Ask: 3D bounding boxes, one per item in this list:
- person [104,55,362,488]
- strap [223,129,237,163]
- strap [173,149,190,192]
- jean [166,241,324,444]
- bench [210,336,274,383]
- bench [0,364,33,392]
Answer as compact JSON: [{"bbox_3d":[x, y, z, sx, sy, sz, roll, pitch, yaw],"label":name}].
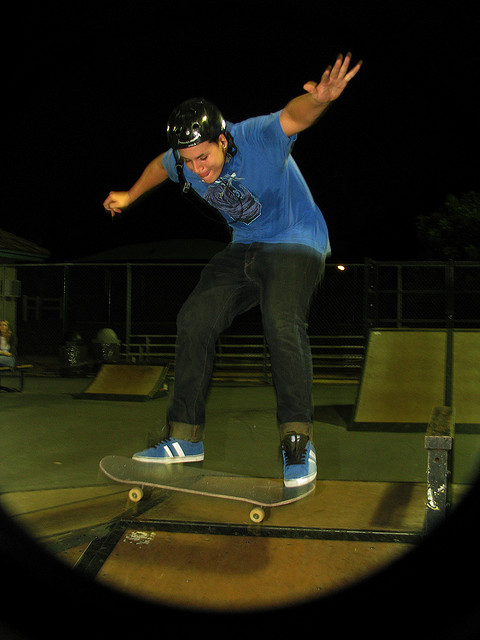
[{"bbox_3d":[0.021,-0.089,2.309,1.085,1.585,0.737,-3,-6,28],"label":"person"},{"bbox_3d":[-0.041,-0.728,2.199,0.051,0.101,0.075,-20,12,12],"label":"strap"},{"bbox_3d":[-0.284,-0.689,2.433,0.079,0.132,0.036,15,33,43],"label":"strap"},{"bbox_3d":[0.008,0.091,2.442,0.693,0.949,0.216,-3,-6,24],"label":"jean"},{"bbox_3d":[0.025,0.789,10.115,1.213,0.583,1.598,0,-2,0],"label":"bench"},{"bbox_3d":[-3.521,0.894,8.266,0.431,0.374,0.391,-1,-18,2],"label":"bench"}]
